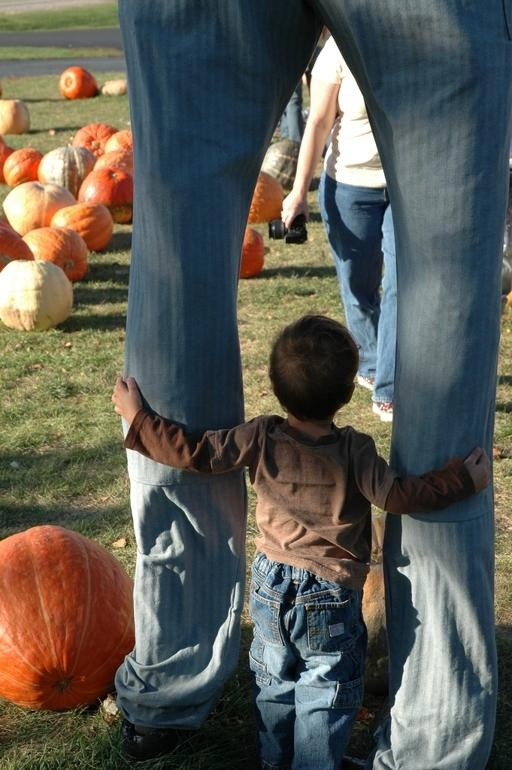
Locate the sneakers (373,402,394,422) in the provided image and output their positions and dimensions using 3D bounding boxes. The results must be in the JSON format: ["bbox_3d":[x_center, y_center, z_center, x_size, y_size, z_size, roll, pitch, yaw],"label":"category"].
[{"bbox_3d":[0.571,0.113,5.309,0.095,0.047,0.144,4,2,-2],"label":"sneakers"}]

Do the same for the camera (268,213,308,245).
[{"bbox_3d":[0.119,-0.594,4.605,0.129,0.135,0.086,0,-14,1],"label":"camera"}]

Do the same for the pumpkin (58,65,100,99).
[{"bbox_3d":[-3.052,-5.150,20.464,0.627,0.550,0.754,-2,10,-8],"label":"pumpkin"}]

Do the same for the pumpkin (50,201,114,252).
[{"bbox_3d":[-1.140,-1.101,8.275,0.366,0.364,0.394,-5,-13,33],"label":"pumpkin"}]

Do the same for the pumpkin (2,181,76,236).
[{"bbox_3d":[-1.561,-1.335,8.599,0.445,0.419,0.423,-8,35,-14],"label":"pumpkin"}]

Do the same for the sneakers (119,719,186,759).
[{"bbox_3d":[-0.255,0.856,2.913,0.115,0.098,0.085,-14,14,-18],"label":"sneakers"}]
